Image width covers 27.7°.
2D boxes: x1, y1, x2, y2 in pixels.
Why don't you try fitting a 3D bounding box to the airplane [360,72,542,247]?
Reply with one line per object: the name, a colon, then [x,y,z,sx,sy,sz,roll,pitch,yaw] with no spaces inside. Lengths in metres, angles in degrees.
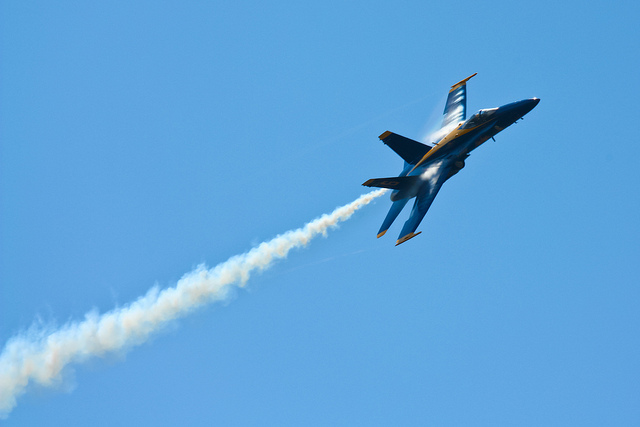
airplane: [8.130,-4.324,89.441,11.735,13.624,3.573,-32,-59,25]
